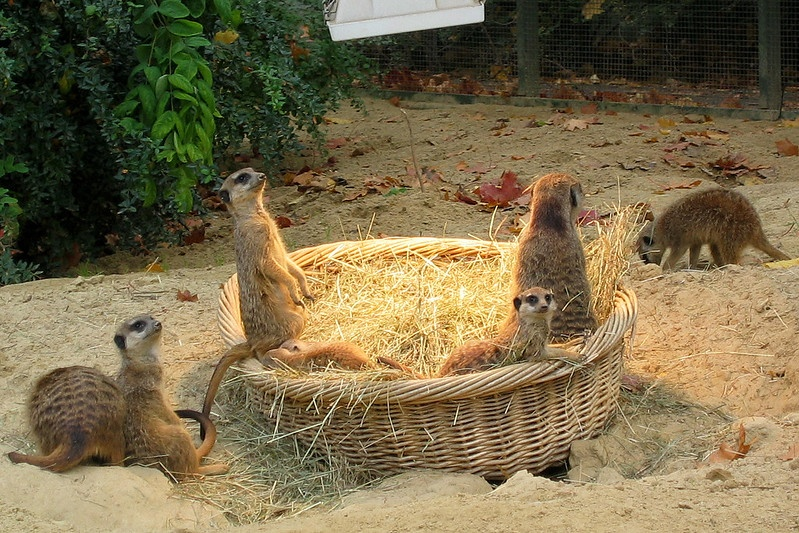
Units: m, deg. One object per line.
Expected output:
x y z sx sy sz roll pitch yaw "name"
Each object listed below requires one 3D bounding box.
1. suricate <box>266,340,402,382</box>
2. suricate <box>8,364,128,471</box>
-0.421 0.523 5.241 0.496 0.252 0.643 1 -1 2 "suricate"
-1.820 0.847 4.780 0.589 0.514 0.419 -3 14 -11 "suricate"
